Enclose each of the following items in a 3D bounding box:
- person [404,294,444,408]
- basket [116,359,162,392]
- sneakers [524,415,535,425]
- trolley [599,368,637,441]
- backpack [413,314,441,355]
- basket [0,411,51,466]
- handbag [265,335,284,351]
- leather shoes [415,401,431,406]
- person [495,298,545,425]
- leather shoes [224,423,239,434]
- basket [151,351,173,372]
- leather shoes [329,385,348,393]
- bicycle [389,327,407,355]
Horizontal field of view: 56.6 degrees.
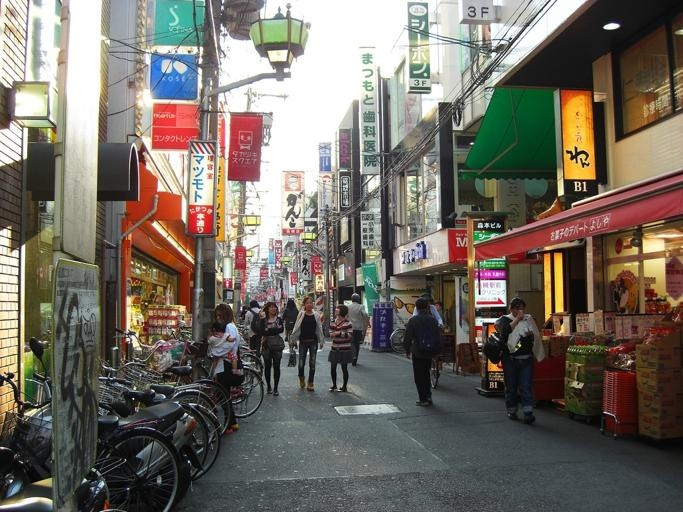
[{"bbox_3d":[1.519,1.774,12.153,0.628,2.045,0.739,-1,-8,18],"label":"person"},{"bbox_3d":[-2.453,1.428,7.759,0.376,0.197,0.453,8,-9,1],"label":"basket"},{"bbox_3d":[2.997,2.611,10.181,0.090,0.199,0.196,4,-25,-13],"label":"sneakers"},{"bbox_3d":[4.106,2.170,9.404,0.440,0.939,0.575,0,-7,5],"label":"trolley"},{"bbox_3d":[1.609,1.515,12.202,0.483,0.781,0.386,8,-23,-16],"label":"backpack"},{"bbox_3d":[-2.722,1.582,5.484,0.387,0.254,0.219,30,-20,4],"label":"basket"},{"bbox_3d":[-1.410,1.882,13.311,0.426,0.532,0.268,0,-8,0],"label":"handbag"},{"bbox_3d":[1.525,2.704,11.765,0.294,0.093,0.221,1,-8,1],"label":"leather shoes"},{"bbox_3d":[3.002,1.722,10.677,0.680,2.022,0.773,-3,-8,26],"label":"person"},{"bbox_3d":[-1.682,2.618,9.676,0.070,0.094,0.203,2,1,9],"label":"leather shoes"},{"bbox_3d":[-2.660,1.572,9.443,0.223,0.271,0.305,3,-35,1],"label":"basket"},{"bbox_3d":[-0.067,2.802,13.393,0.425,0.187,0.144,11,-14,-23],"label":"leather shoes"},{"bbox_3d":[1.989,3.029,22.984,0.497,0.851,1.453,1,-8,2],"label":"bicycle"}]
